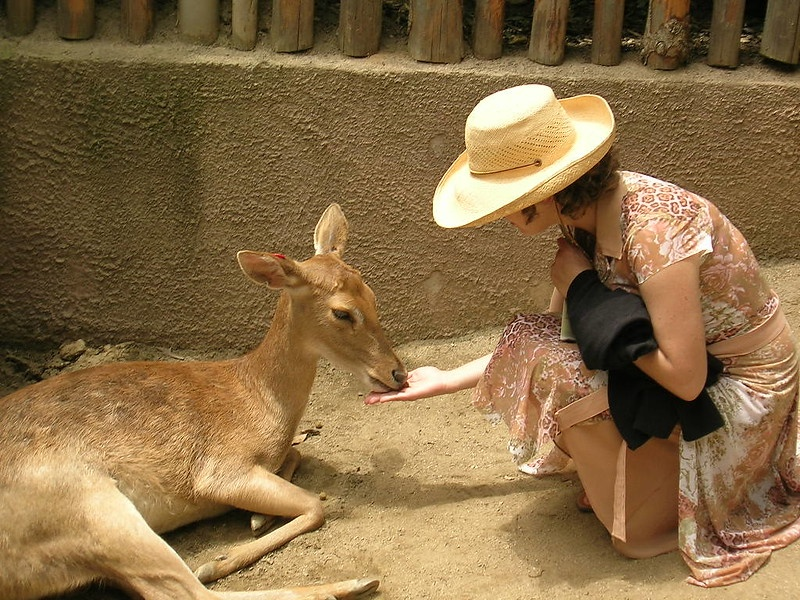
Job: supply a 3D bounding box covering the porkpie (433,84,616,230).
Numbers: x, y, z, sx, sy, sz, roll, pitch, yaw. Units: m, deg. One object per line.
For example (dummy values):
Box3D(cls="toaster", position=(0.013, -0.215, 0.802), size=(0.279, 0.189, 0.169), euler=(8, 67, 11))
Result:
Box3D(cls="porkpie", position=(0.567, -0.671, 3.883), size=(0.763, 0.315, 0.660), euler=(-42, 17, -4))
